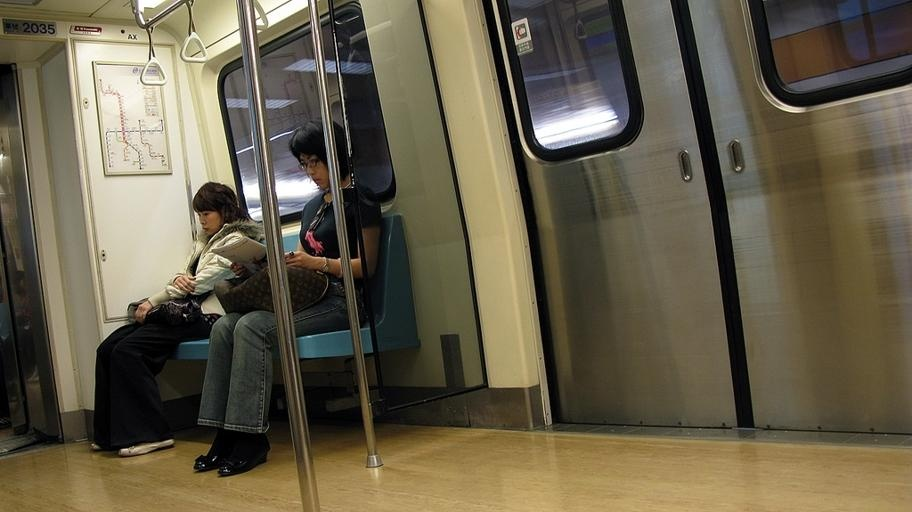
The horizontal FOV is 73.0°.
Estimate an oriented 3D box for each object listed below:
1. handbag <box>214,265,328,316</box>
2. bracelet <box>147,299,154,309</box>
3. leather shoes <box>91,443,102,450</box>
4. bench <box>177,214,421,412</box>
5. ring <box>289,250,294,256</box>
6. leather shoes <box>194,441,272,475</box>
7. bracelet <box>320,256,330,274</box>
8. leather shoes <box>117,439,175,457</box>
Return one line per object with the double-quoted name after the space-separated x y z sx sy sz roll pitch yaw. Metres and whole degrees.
-1.316 0.255 4.467 0.628 0.190 0.410 -7 5 -18 "handbag"
-2.618 0.408 5.317 0.054 0.065 0.060 21 37 37 "bracelet"
-3.071 1.622 5.275 0.057 0.061 0.153 4 -4 -42 "leather shoes"
-0.921 0.352 4.454 0.919 0.869 1.761 9 -13 -44 "bench"
-1.238 -0.026 4.669 0.030 0.019 0.031 -1 -10 0 "ring"
-1.554 1.426 4.333 0.429 0.165 0.269 3 -7 -42 "leather shoes"
-0.957 0.071 4.528 0.075 0.107 0.101 -2 9 -30 "bracelet"
-2.527 1.570 5.105 0.460 0.118 0.159 0 -1 -36 "leather shoes"
